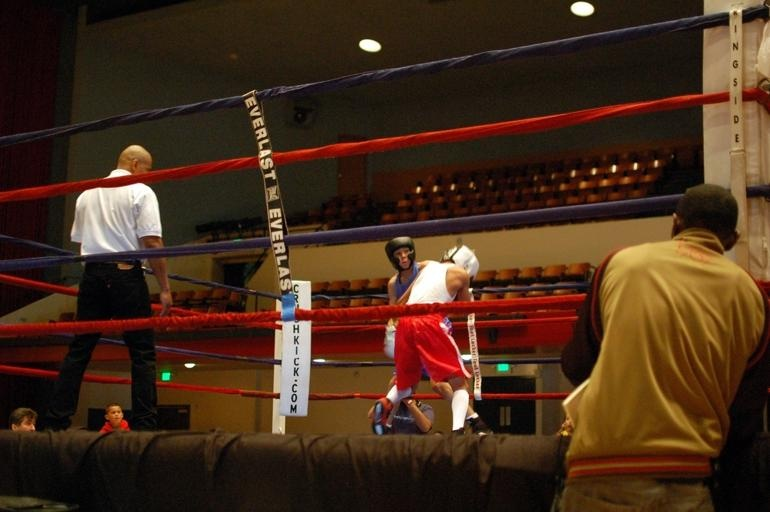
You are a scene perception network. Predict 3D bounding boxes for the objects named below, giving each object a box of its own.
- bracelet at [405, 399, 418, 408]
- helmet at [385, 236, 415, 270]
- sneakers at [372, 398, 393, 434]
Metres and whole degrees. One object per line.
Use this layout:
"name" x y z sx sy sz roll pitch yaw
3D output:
"bracelet" 0.180 1.007 5.599 0.084 0.029 0.063 -4 -8 42
"helmet" 0.107 -0.024 5.547 0.195 0.163 0.196 4 -27 -42
"sneakers" -0.026 0.977 5.098 0.127 0.220 0.337 0 -2 7
